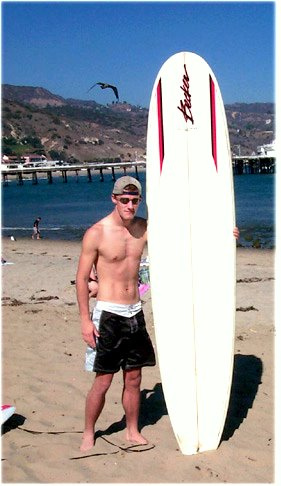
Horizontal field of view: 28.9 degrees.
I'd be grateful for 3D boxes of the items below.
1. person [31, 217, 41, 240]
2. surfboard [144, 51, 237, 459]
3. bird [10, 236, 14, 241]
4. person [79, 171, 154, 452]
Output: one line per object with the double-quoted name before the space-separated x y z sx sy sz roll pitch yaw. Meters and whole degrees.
"person" -4.509 -0.638 23.468 0.515 0.492 1.377 9 -21 -8
"surfboard" 0.310 0.046 3.508 0.611 2.516 0.663 1 10 9
"bird" -4.598 -0.180 19.375 0.149 0.064 0.567 5 -11 -7
"person" -0.150 0.444 3.403 0.444 1.711 0.375 -1 9 -2
